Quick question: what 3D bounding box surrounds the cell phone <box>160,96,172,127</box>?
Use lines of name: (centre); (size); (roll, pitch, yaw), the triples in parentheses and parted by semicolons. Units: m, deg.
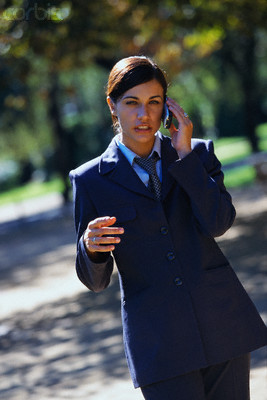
cell phone: (0.137, -0.373, 2.242); (0.028, 0.101, 0.077); (-6, -3, 2)

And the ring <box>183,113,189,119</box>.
ring: (0.228, -0.370, 2.318); (0.017, 0.006, 0.021); (1, 56, -31)

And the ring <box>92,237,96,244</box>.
ring: (-0.152, 0.154, 2.023); (0.017, 0.015, 0.016); (8, 35, -6)

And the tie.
tie: (0.062, -0.103, 2.213); (0.110, 0.170, 0.056); (-9, -9, 0)
